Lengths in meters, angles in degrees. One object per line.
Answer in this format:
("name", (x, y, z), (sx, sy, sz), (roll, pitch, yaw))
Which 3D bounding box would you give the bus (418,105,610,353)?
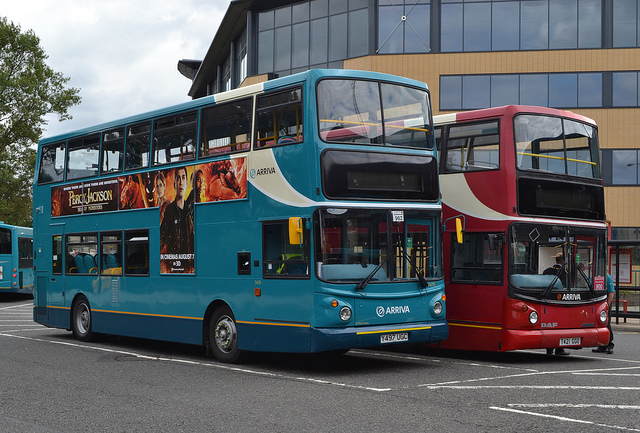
("bus", (4.765, 0.470, 16.881), (2.433, 6.058, 6.690), (1, -2, -14))

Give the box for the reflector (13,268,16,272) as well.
("reflector", (-16.730, 2.937, 33.483), (0.186, 0.184, 0.203), (3, 6, -2))

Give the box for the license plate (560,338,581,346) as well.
("license plate", (5.684, 2.831, 13.891), (0.687, 0.203, 0.018), (-2, 4, -28))

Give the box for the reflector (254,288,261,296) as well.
("reflector", (-1.320, 1.588, 12.911), (0.185, 0.167, 0.021), (2, 4, 35))

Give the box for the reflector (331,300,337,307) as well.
("reflector", (0.268, 1.689, 11.900), (0.114, 0.125, 0.029), (0, -6, -15))

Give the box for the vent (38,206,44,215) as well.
("vent", (-8.551, -0.180, 18.774), (0.253, 0.372, 0.035), (-3, -9, 25))

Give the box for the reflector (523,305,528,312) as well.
("reflector", (4.508, 2.018, 13.455), (0.101, 0.110, 0.035), (-1, -3, 10))
